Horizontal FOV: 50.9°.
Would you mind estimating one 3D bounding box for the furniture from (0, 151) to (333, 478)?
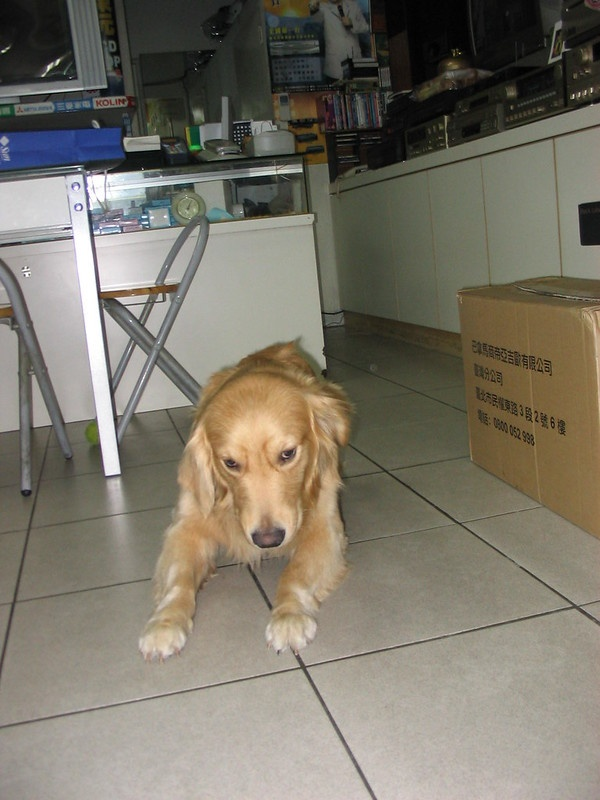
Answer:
[{"bbox_3d":[-0.593,-0.351,2.472,1.298,1.049,0.447,-14,16,-19],"label":"furniture"}]

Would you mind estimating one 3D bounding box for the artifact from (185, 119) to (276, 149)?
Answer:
[{"bbox_3d":[-0.464,-1.818,4.250,0.507,0.187,0.519,5,24,23],"label":"artifact"}]

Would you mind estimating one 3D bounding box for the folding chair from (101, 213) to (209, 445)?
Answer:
[{"bbox_3d":[-0.617,-0.305,2.569,0.529,0.831,0.489,-11,16,-27],"label":"folding chair"}]

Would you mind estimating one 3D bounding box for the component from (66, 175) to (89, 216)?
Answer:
[{"bbox_3d":[-0.697,-0.642,1.972,0.059,0.122,0.027,-11,11,-20],"label":"component"}]
